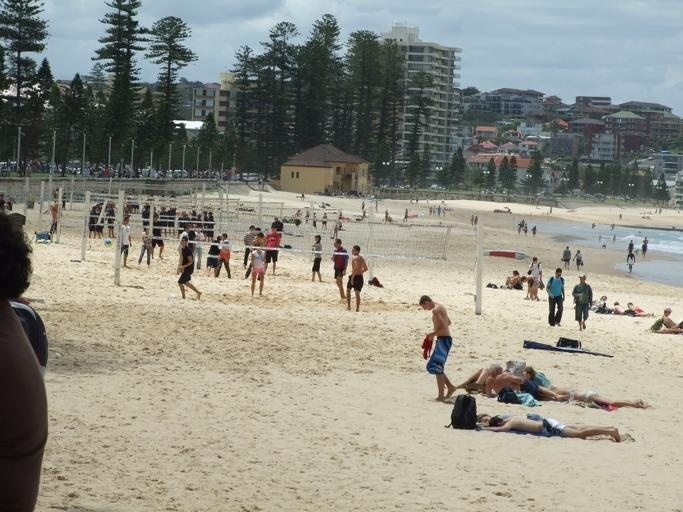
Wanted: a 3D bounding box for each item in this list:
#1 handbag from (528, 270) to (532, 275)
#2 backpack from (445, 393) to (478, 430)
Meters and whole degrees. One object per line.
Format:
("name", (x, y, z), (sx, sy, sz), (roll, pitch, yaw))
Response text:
("handbag", (6.496, 0.569, 43.809), (0.049, 0.160, 0.111), (11, -9, -31))
("backpack", (2.855, 3.546, 28.952), (0.429, 0.845, 0.672), (4, 10, 2))
